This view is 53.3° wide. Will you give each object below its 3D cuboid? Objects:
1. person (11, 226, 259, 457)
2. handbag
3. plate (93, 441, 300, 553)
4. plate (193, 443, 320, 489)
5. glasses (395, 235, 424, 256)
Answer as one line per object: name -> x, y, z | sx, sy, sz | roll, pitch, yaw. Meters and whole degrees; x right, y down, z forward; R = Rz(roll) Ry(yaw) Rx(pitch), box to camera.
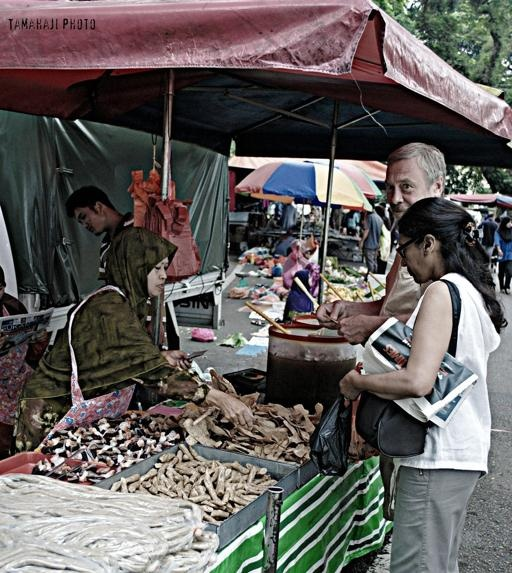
person -> -0.612, 0.184, 3.021 | 1.544, 1.511, 0.810 | -1, 9, -9
handbag -> 0.525, 0.296, 1.794 | 0.370, 0.633, 0.183 | 3, 9, 20
plate -> -0.222, 0.767, 1.920 | 0.538, 0.180, 0.653 | 3, 7, 25
plate -> -0.004, 0.764, 2.140 | 0.273, 0.049, 0.280 | -11, 15, -41
glasses -> 0.571, -0.154, 1.884 | 0.070, 0.020, 0.066 | -33, -5, 9
